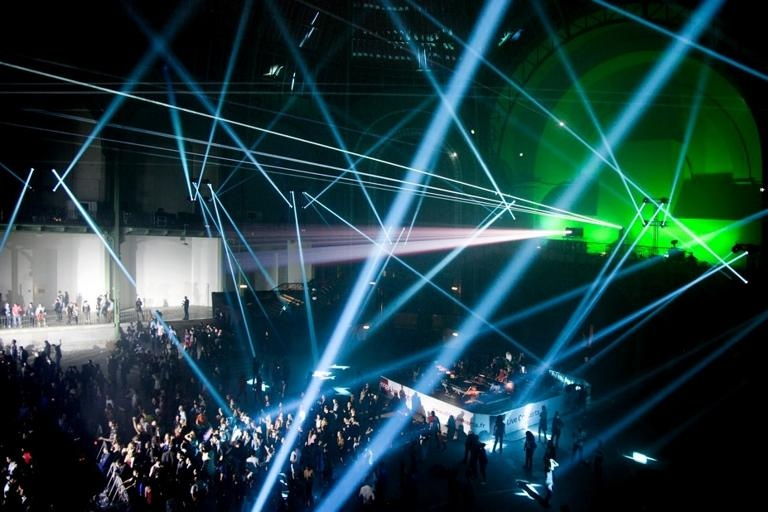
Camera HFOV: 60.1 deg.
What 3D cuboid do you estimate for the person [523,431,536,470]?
[{"bbox_3d":[6.037,8.005,27.372,0.489,1.589,1.005,-4,-13,11],"label":"person"}]

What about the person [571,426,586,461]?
[{"bbox_3d":[8.175,7.857,27.738,0.562,1.337,0.559,-4,-13,12],"label":"person"}]

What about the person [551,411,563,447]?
[{"bbox_3d":[7.441,7.366,28.330,0.503,1.502,1.906,-5,-13,14],"label":"person"}]

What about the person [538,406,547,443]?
[{"bbox_3d":[7.009,7.284,29.046,0.435,1.475,1.438,-5,-13,14],"label":"person"}]

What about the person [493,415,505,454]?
[{"bbox_3d":[4.898,7.535,28.295,0.568,1.546,1.045,-3,-13,9],"label":"person"}]
